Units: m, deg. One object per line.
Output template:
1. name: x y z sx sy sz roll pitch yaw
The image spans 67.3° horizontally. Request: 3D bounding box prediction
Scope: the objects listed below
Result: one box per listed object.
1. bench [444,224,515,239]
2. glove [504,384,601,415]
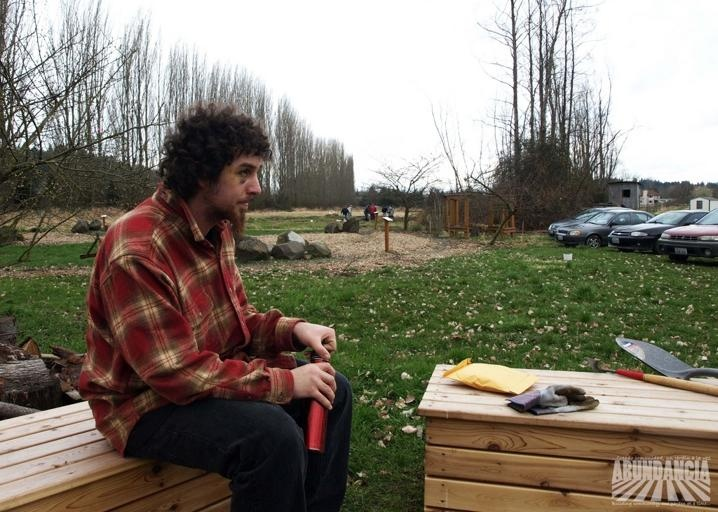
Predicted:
1. bench: 5.311 -1.173 24.005 3.036 0.571 1.855 3 10 24
2. glove: 1.251 0.932 3.482 0.274 0.097 0.286 -2 1 -16
